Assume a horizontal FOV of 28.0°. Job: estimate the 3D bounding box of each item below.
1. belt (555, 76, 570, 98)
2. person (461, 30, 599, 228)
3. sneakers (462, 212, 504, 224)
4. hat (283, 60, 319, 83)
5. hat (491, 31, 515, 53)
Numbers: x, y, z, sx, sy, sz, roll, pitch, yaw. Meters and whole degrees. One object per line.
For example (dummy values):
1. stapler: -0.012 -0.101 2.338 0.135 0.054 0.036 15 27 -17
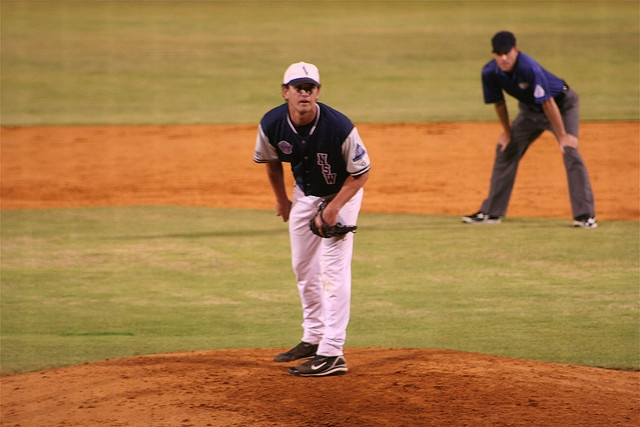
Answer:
1. belt: 4.016 -2.107 21.557 0.179 0.297 0.238 3 14 16
2. person: 3.533 -1.374 21.598 1.951 3.367 0.669 0 15 3
3. sneakers: 2.767 0.085 22.378 0.664 0.162 0.212 2 2 9
4. hat: -0.318 -2.026 18.537 0.509 0.299 0.373 -1 12 -2
5. hat: 2.975 -2.855 21.073 0.389 0.193 0.407 -2 32 19
